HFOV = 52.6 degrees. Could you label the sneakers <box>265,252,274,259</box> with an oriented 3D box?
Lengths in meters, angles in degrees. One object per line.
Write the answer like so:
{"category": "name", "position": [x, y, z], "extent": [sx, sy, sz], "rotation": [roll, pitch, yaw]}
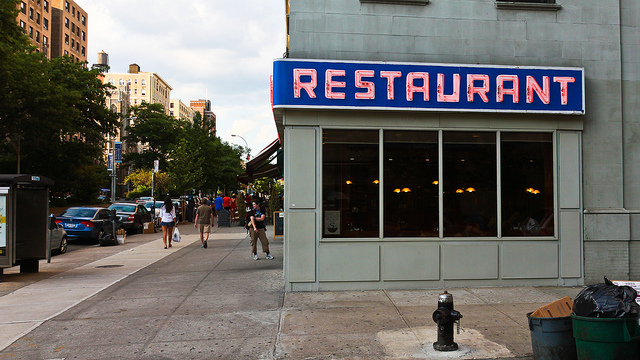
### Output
{"category": "sneakers", "position": [-1.958, 3.094, 25.277], "extent": [0.398, 0.236, 0.131], "rotation": [-1, -2, 5]}

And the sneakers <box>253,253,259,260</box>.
{"category": "sneakers", "position": [-2.509, 3.109, 25.229], "extent": [0.146, 0.248, 0.281], "rotation": [3, -18, -13]}

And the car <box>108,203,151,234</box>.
{"category": "car", "position": [-10.068, 2.161, 34.053], "extent": [1.903, 1.199, 4.070], "rotation": [0, 1, -7]}

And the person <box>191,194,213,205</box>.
{"category": "person", "position": [-9.158, 1.595, 49.940], "extent": [1.882, 0.770, 1.314], "rotation": [0, -3, -7]}

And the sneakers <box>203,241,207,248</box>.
{"category": "sneakers", "position": [-5.005, 2.906, 28.224], "extent": [0.167, 0.219, 0.275], "rotation": [-2, -1, -15]}

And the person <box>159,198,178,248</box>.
{"category": "person", "position": [-6.708, 1.968, 28.722], "extent": [0.633, 1.784, 1.041], "rotation": [-3, -1, -12]}
